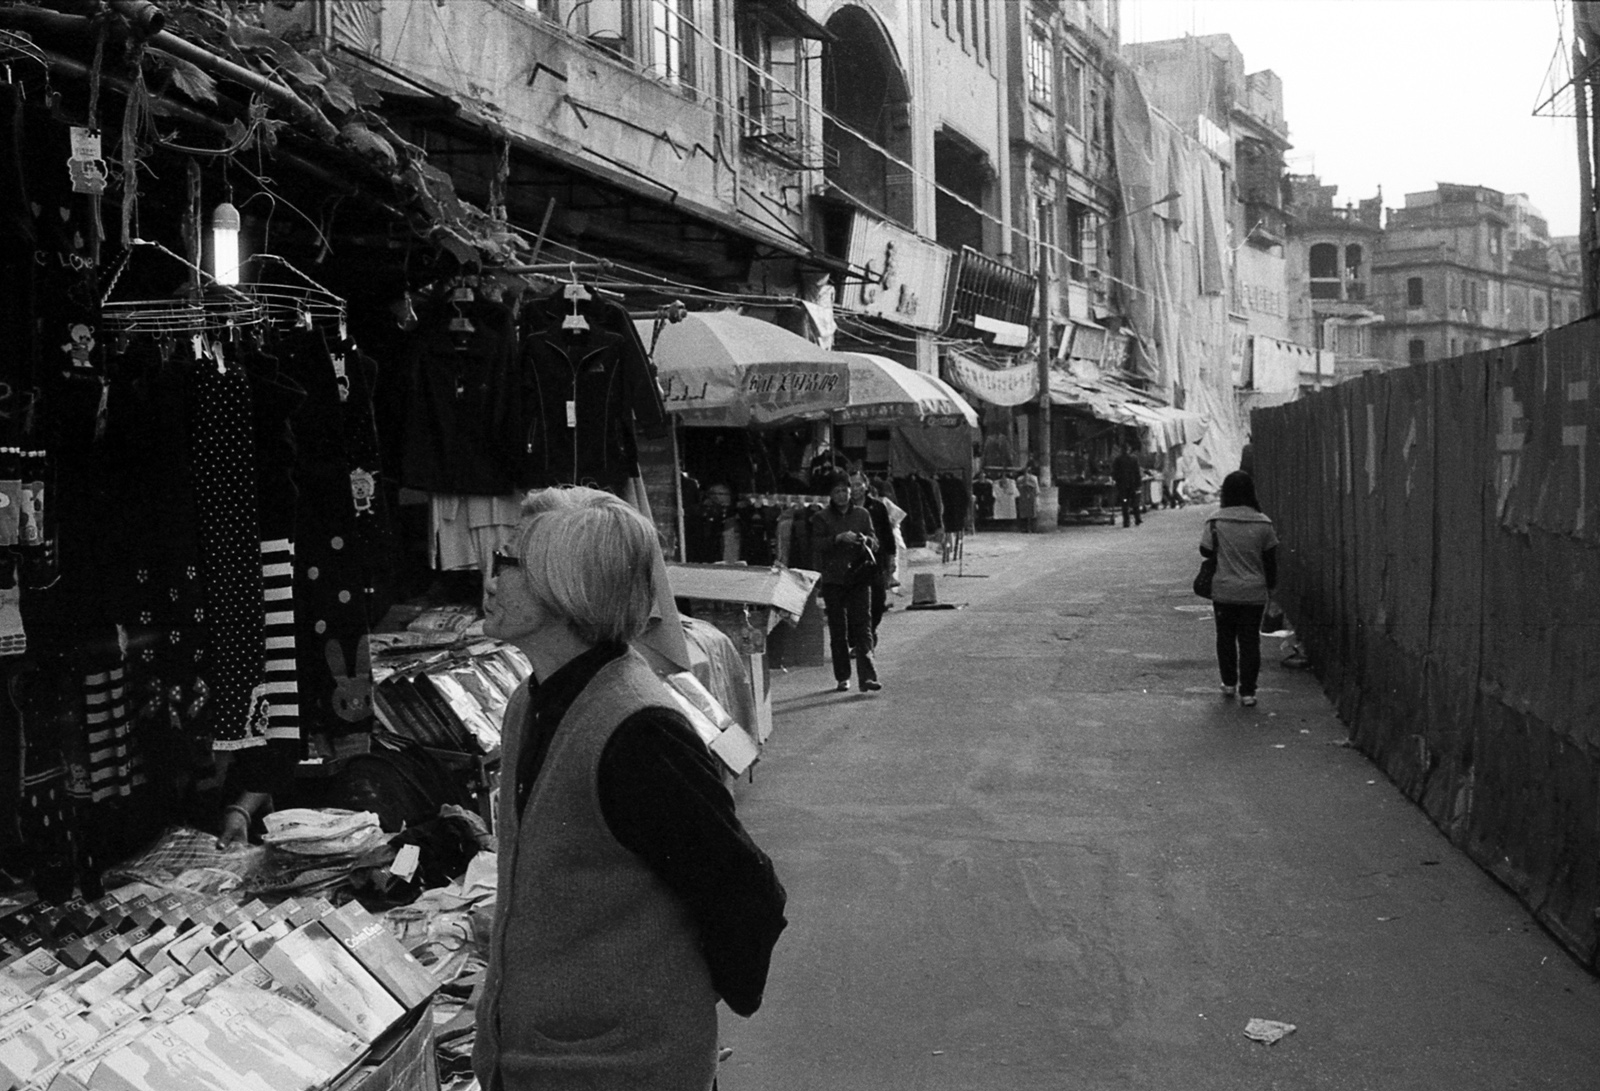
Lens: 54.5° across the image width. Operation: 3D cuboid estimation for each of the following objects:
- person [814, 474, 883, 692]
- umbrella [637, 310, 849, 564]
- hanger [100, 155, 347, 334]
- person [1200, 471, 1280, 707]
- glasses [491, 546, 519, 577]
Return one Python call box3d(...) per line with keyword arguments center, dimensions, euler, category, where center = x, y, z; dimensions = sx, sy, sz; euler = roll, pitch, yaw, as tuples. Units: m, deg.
box3d(center=(0.457, 0.305, 14.903), dimensions=(0.855, 2.249, 0.495), euler=(-1, 3, 1), category="person")
box3d(center=(-0.383, -0.808, 13.827), dimensions=(2.693, 2.441, 1.363), euler=(5, 16, 12), category="umbrella")
box3d(center=(-2.478, -1.275, 6.723), dimensions=(0.671, 0.746, 1.015), euler=(2, 5, 32), category="hanger")
box3d(center=(3.916, 0.367, 13.889), dimensions=(0.643, 1.932, 0.988), euler=(0, 0, 18), category="person")
box3d(center=(-0.865, 0.043, 4.590), dimensions=(0.049, 0.107, 0.076), euler=(6, -12, -31), category="glasses")
